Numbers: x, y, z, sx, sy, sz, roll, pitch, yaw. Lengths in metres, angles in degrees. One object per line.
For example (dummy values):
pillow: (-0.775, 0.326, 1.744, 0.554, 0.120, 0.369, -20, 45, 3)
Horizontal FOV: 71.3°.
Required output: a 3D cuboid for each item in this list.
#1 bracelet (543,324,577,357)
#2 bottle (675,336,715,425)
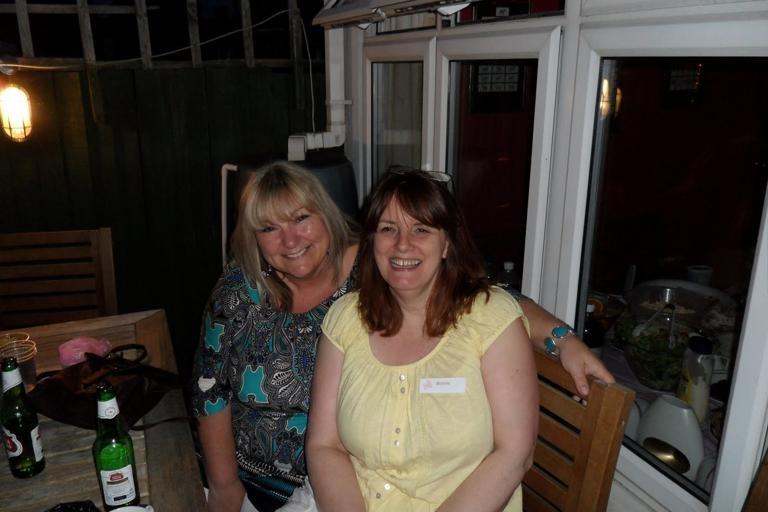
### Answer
bracelet: (0.582, 0.267, 1.761, 0.080, 0.103, 0.043, 27, 25, 7)
bottle: (1.104, 0.443, 1.905, 0.104, 0.310, 0.202, 8, 15, 32)
